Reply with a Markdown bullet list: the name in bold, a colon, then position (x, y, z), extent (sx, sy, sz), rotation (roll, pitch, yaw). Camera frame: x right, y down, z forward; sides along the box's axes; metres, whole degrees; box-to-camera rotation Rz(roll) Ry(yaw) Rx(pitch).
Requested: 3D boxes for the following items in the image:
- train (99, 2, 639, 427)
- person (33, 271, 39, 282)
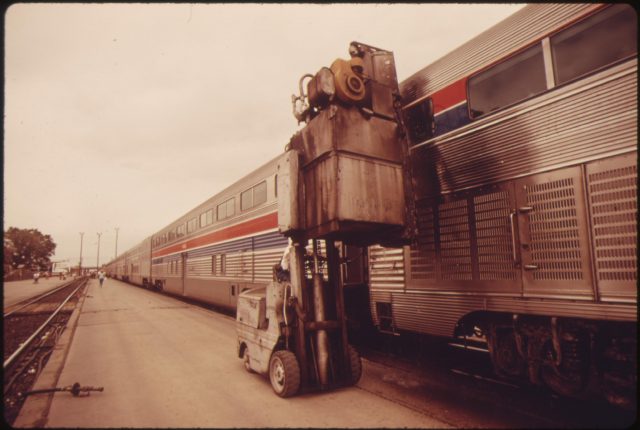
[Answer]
- **train**: position (-0.921, 0.871, 13.614), extent (20.050, 5.550, 3.411), rotation (-5, -17, 45)
- **person**: position (-26.806, 5.898, 39.791), extent (0.337, 1.081, 1.485), rotation (-1, 0, -38)
